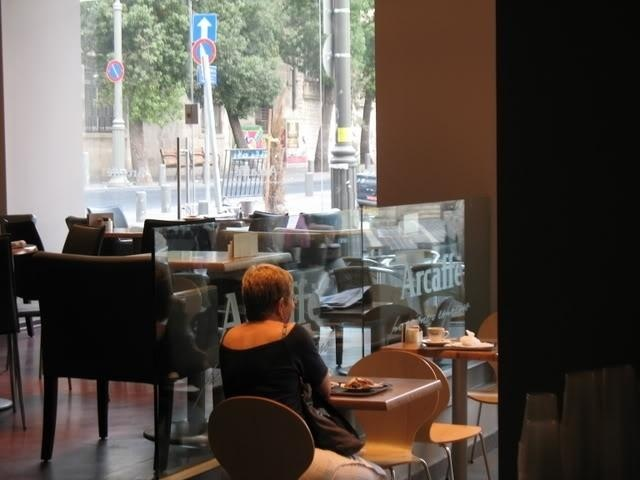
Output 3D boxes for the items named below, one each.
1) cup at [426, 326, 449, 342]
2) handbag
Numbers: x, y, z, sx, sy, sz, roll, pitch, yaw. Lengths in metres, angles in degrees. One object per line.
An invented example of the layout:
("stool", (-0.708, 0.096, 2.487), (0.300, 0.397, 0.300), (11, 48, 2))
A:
("cup", (0.683, 0.526, 3.492), (0.108, 0.101, 0.144), (-3, -5, 25))
("handbag", (0.054, 0.744, 2.350), (0.173, 0.253, 0.096), (5, -41, -39))
